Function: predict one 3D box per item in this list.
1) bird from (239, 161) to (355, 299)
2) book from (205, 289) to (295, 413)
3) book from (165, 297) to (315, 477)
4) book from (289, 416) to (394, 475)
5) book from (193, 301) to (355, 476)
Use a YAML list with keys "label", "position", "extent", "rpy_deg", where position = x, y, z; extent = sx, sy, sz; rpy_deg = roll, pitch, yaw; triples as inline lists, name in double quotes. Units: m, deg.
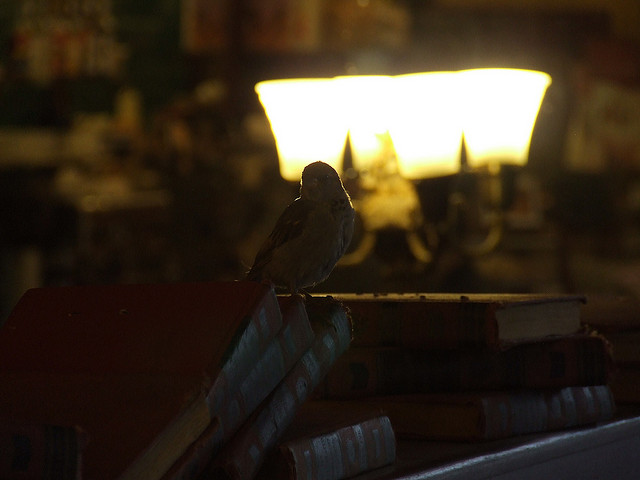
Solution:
- label: "bird"
  position: [-0.050, -0.017, 1.698]
  extent: [0.201, 0.277, 0.145]
  rpy_deg: [3, -4, 17]
- label: "book"
  position: [-0.077, 0.172, 1.229]
  extent: [0.030, 0.138, 0.134]
  rpy_deg: [26, 10, -13]
- label: "book"
  position: [-0.099, 0.215, 1.218]
  extent: [0.207, 0.047, 0.200]
  rpy_deg: [-49, 1, -42]
- label: "book"
  position: [0.036, 0.301, 1.261]
  extent: [0.081, 0.035, 0.087]
  rpy_deg: [-23, 4, 16]
- label: "book"
  position: [-0.062, 0.188, 1.261]
  extent: [0.207, 0.048, 0.209]
  rpy_deg: [-51, -4, 33]
